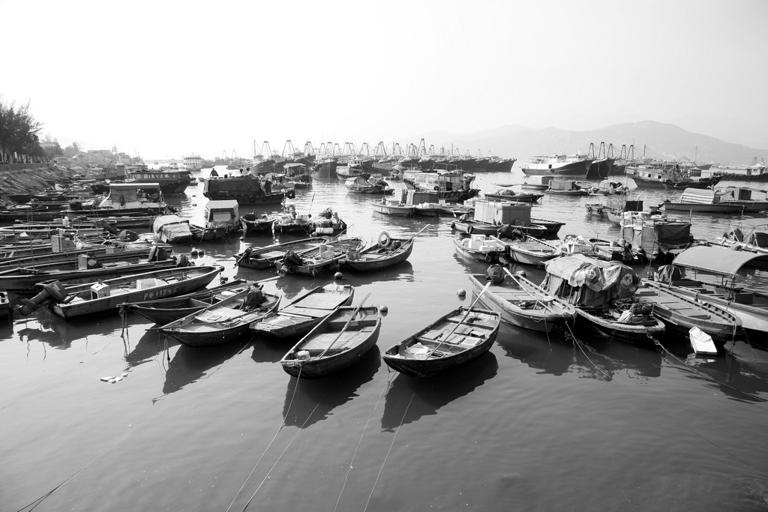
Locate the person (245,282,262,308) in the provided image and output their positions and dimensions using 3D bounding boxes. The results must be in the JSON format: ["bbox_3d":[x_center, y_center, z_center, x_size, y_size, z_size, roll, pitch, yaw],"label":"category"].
[{"bbox_3d":[-7.547,2.326,31.027,0.780,1.029,1.223,-1,12,6],"label":"person"}]

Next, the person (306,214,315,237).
[{"bbox_3d":[-7.409,-3.107,53.342,0.687,2.432,0.938,-2,-1,-1],"label":"person"}]
